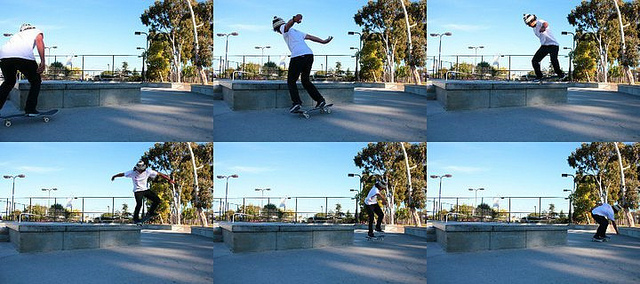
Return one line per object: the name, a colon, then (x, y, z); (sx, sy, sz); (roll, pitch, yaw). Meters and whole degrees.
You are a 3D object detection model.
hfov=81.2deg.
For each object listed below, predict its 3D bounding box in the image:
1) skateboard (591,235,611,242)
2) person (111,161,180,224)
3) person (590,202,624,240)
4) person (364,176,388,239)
skateboard: (10.858, 3.723, 14.348); (0.855, 0.161, 0.266); (1, -3, -10)
person: (-6.624, 1.882, 14.090); (1.185, 2.300, 0.818); (1, -5, -6)
person: (11.744, 3.181, 14.865); (1.275, 1.353, 1.125); (7, -10, -21)
person: (2.248, 2.536, 14.733); (0.725, 2.320, 1.535); (-1, -5, 18)
